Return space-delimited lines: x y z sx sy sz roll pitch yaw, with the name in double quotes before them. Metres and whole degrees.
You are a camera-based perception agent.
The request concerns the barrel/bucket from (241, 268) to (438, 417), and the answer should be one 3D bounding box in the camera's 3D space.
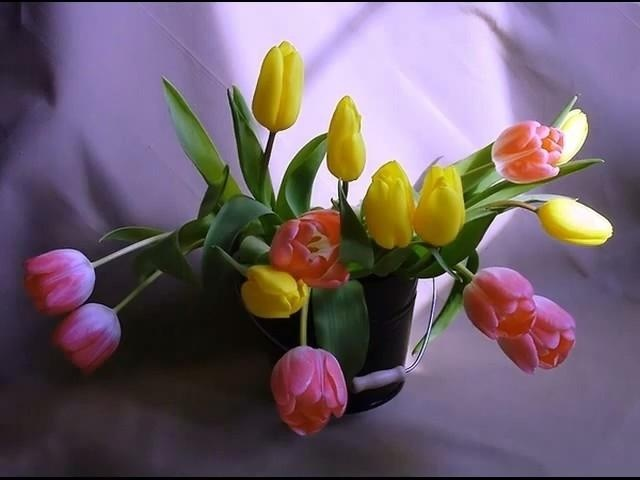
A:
"barrel/bucket" 0.026 0.167 0.733 0.214 0.175 0.235 0 47 0
